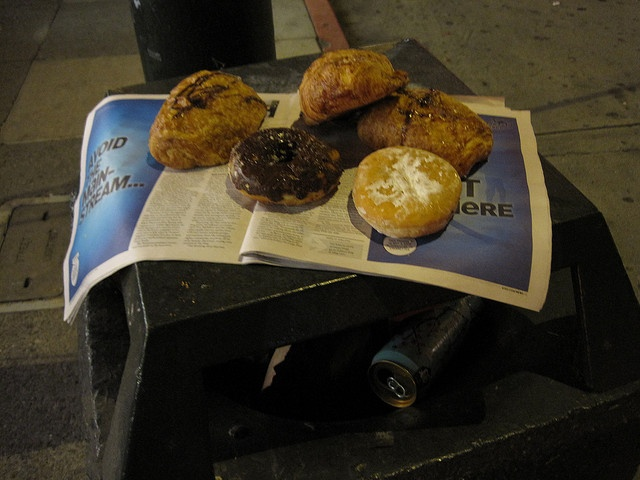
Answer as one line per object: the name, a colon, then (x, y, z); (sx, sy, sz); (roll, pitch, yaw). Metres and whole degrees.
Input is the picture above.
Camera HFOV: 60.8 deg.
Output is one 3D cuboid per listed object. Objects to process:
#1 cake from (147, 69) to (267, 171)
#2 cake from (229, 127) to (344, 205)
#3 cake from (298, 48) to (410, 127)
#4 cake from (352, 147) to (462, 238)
cake: (-0.221, -0.242, 1.118); (0.205, 0.064, 0.211); (3, 69, -2)
cake: (-0.066, -0.145, 1.054); (0.163, 0.050, 0.163); (-15, 53, -21)
cake: (0.062, -0.313, 1.144); (0.174, 0.105, 0.145); (-7, 32, 16)
cake: (0.169, -0.087, 1.016); (0.159, 0.053, 0.183); (9, 58, 11)
